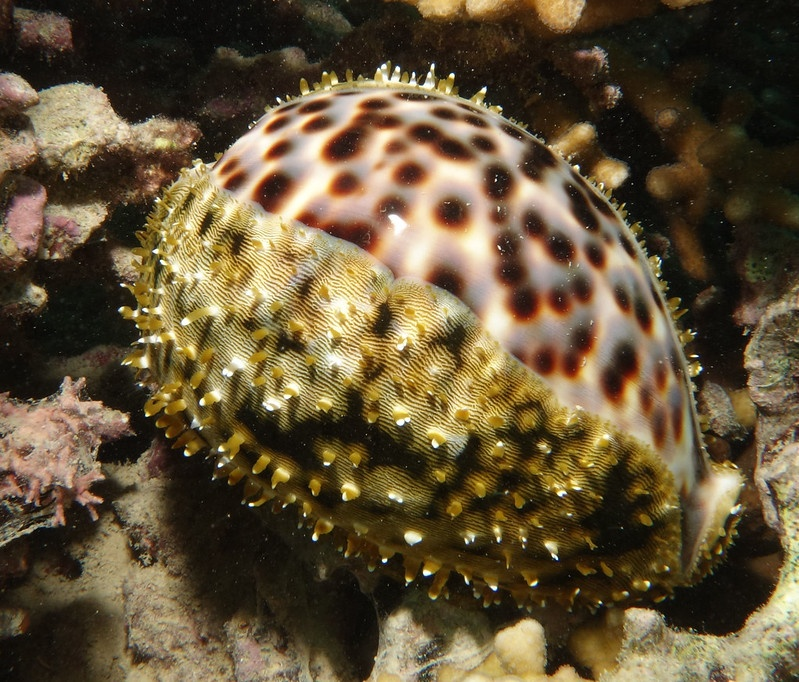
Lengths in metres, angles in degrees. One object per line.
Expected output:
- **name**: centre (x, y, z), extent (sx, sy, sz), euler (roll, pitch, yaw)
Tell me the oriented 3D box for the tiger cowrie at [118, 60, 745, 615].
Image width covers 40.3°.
- **tiger cowrie**: centre (0.106, -0.210, 6.012), extent (2.951, 2.646, 2.467), euler (-5, 107, -6)
